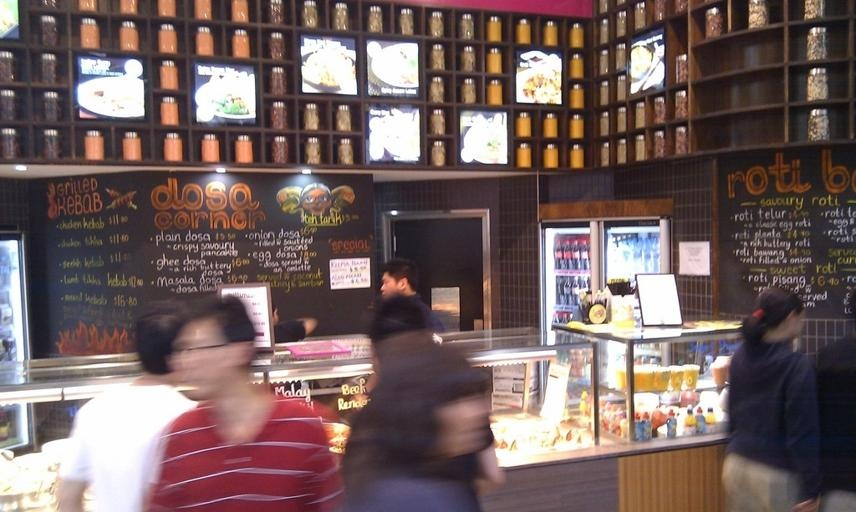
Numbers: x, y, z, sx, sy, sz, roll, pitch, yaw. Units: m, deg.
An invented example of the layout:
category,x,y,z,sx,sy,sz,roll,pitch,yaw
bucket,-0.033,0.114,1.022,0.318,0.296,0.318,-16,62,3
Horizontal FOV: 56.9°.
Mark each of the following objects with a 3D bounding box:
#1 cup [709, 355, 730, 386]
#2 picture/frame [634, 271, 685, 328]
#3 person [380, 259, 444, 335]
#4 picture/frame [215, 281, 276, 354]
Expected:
category,x,y,z,sx,sy,sz,roll,pitch,yaw
cup,2.472,0.963,6.664,0.215,0.237,0.212,0,2,0
picture/frame,1.990,0.383,6.808,0.472,0.546,0.055,2,-22,-11
person,-0.140,0.396,7.015,0.548,0.686,0.930,-1,-2,0
picture/frame,-1.291,0.410,6.138,0.603,0.619,0.492,-3,3,-2
